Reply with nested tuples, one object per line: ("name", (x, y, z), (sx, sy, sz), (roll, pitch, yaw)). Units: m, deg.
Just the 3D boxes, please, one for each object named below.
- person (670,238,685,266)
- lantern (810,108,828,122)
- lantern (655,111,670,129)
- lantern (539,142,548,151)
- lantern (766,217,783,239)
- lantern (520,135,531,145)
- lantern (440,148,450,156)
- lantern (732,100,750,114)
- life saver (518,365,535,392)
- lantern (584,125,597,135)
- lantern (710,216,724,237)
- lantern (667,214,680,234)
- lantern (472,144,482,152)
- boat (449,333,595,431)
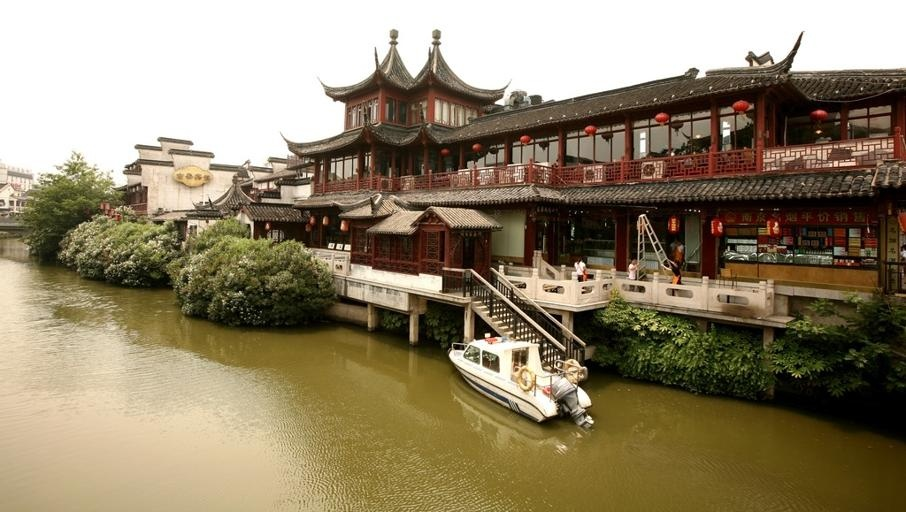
("person", (12.269, -0.185, 35.827), (0.599, 0.678, 1.439), (42, -6, 20))
("lantern", (19.613, -7.523, 35.279), (0.716, 0.714, 0.747), (-6, -8, 35))
("lantern", (11.886, -7.683, 37.121), (0.791, 0.856, 0.771), (-3, 5, 9))
("lantern", (5.762, -6.944, 41.825), (0.503, 0.477, 0.493), (6, 12, 16))
("lantern", (16.750, -1.437, 34.212), (0.749, 1.085, 0.724), (5, 14, 20))
("lantern", (4.585, -7.337, 41.641), (0.548, 0.489, 0.519), (-5, 12, -38))
("lantern", (-0.538, -7.187, 45.355), (0.558, 0.522, 0.541), (10, -3, -10))
("lantern", (15.409, -7.936, 35.075), (0.848, 0.794, 0.779), (-6, 2, -5))
("life saver", (3.470, 5.887, 31.233), (0.817, 1.056, 0.446), (2, 14, 8))
("lantern", (8.216, -7.544, 39.432), (0.621, 0.624, 0.595), (-4, 0, 44))
("lantern", (14.166, -1.509, 35.298), (0.642, 1.059, 0.790), (8, 16, 31))
("lantern", (12.152, -1.617, 36.202), (0.669, 1.140, 1.539), (4, 14, 17))
("lantern", (1.602, -7.224, 44.020), (0.469, 0.420, 0.523), (13, 16, 11))
("boat", (3.080, 5.899, 32.583), (3.140, 2.309, 6.571), (-8, 18, -41))
